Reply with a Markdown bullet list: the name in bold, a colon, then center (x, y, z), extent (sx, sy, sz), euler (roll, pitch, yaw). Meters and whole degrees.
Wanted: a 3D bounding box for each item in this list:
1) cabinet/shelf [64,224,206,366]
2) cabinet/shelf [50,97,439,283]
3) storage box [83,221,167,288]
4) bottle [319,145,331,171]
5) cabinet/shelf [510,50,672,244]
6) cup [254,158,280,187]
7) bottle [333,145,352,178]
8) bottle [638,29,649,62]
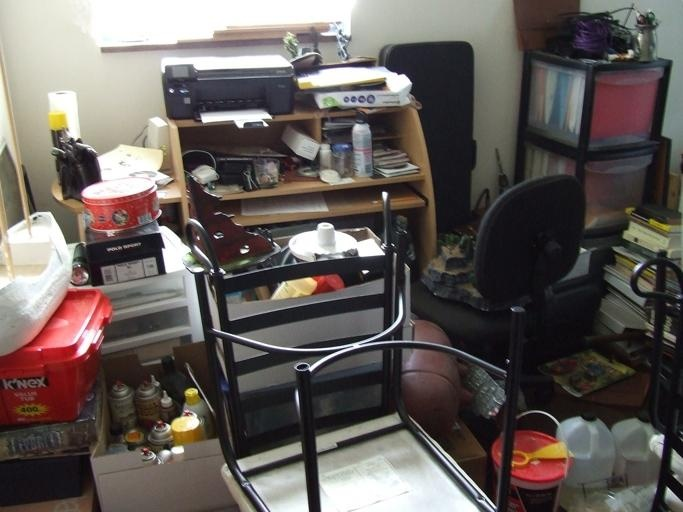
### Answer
- **cabinet/shelf**: center (-0.839, 0.151, 2.195), extent (0.342, 0.356, 0.392), euler (-24, 34, -13)
- **cabinet/shelf**: center (-0.455, -0.316, 2.379), extent (1.027, 0.616, 0.310), euler (-8, 49, -7)
- **storage box**: center (-0.777, -0.034, 1.969), extent (0.220, 0.136, 0.219), euler (-13, 31, -17)
- **bottle**: center (-0.085, -0.511, 2.808), extent (0.068, 0.129, 0.035), euler (-4, 23, 4)
- **cabinet/shelf**: center (1.418, -0.643, 3.185), extent (0.609, 0.963, 0.673), euler (-5, 25, -3)
- **cup**: center (-0.375, -0.411, 2.713), extent (0.135, 0.137, 0.128), euler (0, 30, 0)
- **bottle**: center (0.016, -0.501, 2.873), extent (0.144, 0.159, 0.147), euler (2, 31, 1)
- **bottle**: center (1.536, -1.066, 2.772), extent (0.077, 0.146, 0.056), euler (7, 25, 26)
